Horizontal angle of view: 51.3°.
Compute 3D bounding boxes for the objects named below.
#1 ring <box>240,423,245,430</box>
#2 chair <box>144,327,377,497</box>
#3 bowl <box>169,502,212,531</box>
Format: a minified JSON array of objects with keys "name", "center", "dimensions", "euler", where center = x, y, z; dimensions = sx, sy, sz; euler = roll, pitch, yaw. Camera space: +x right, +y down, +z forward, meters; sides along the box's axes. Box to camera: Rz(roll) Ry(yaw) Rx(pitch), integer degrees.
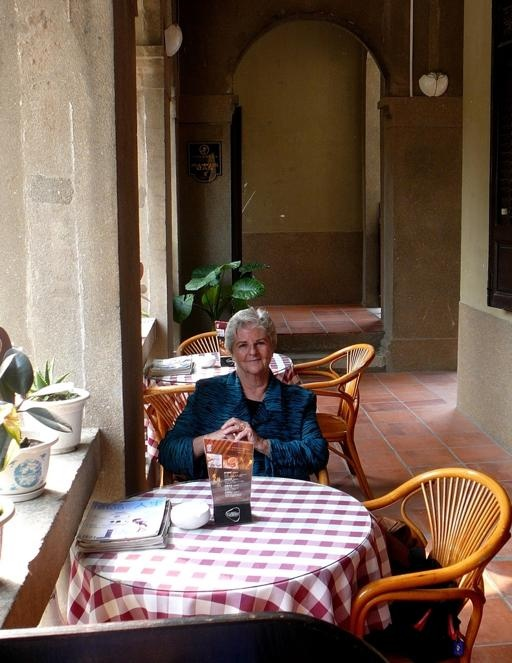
[{"name":"ring","center":[-0.056,0.378,2.109],"dimensions":[0.020,0.027,0.016],"euler":[4,8,0]},{"name":"chair","center":[0.110,0.839,3.843],"dimensions":[1.245,1.671,1.398],"euler":[4,9,8]},{"name":"bowl","center":[-0.187,0.540,1.585],"dimensions":[0.076,0.035,0.077],"euler":[-1,10,0]}]
